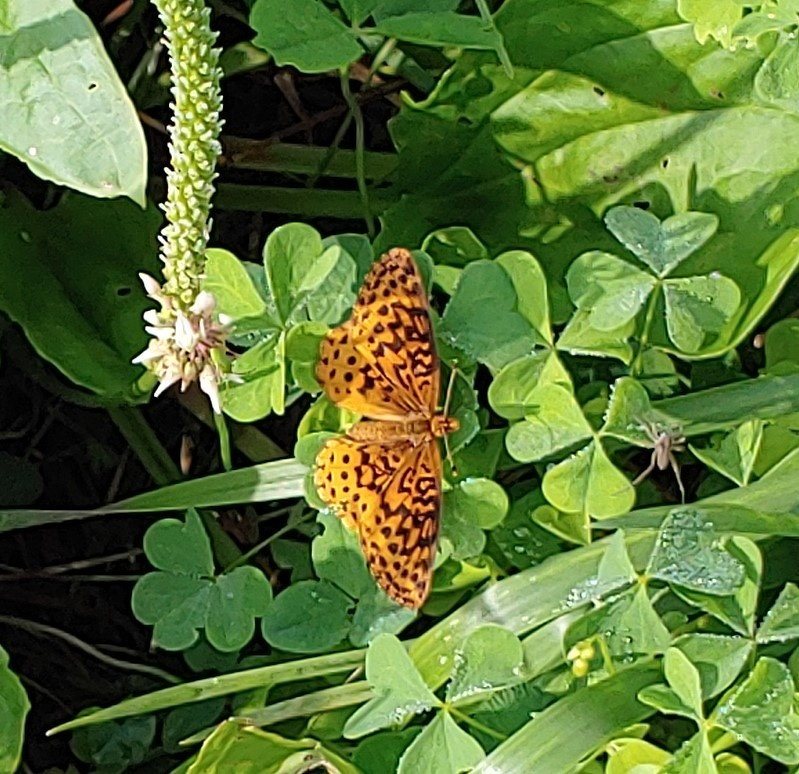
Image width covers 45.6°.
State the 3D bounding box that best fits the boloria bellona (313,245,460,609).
[{"bbox_3d":[0.009,0.061,1.371,0.264,0.145,0.468,-7,81,29],"label":"boloria bellona"}]

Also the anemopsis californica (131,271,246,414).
[{"bbox_3d":[-0.272,-0.053,1.161,0.170,0.069,0.151,-13,96,-29],"label":"anemopsis californica"}]
